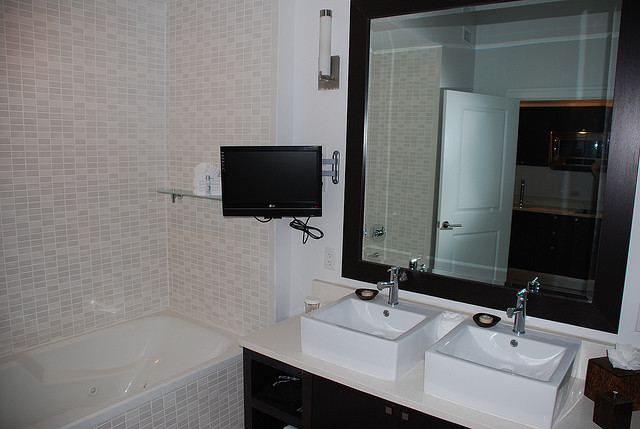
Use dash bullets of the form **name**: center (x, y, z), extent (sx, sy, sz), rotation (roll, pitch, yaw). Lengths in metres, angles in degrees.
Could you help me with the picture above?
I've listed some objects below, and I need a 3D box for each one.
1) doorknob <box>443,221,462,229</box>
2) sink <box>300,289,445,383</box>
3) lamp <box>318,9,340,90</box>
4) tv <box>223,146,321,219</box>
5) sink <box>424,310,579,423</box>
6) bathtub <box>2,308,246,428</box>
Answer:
- **doorknob**: center (0.757, 0.054, 2.654), extent (0.074, 0.037, 0.043), rotation (4, 31, 24)
- **sink**: center (0.309, 0.623, 2.420), extent (0.502, 0.175, 0.479), rotation (9, 12, 40)
- **lamp**: center (0.028, -1.022, 2.812), extent (0.165, 0.454, 0.194), rotation (5, 10, 20)
- **tv**: center (-0.297, -0.214, 2.813), extent (0.635, 0.427, 0.065), rotation (0, 5, 8)
- **sink**: center (0.921, 0.709, 2.236), extent (0.544, 0.310, 0.683), rotation (8, 11, 36)
- **bathtub**: center (-1.472, 1.035, 3.107), extent (0.756, 0.205, 1.045), rotation (10, 15, 38)
